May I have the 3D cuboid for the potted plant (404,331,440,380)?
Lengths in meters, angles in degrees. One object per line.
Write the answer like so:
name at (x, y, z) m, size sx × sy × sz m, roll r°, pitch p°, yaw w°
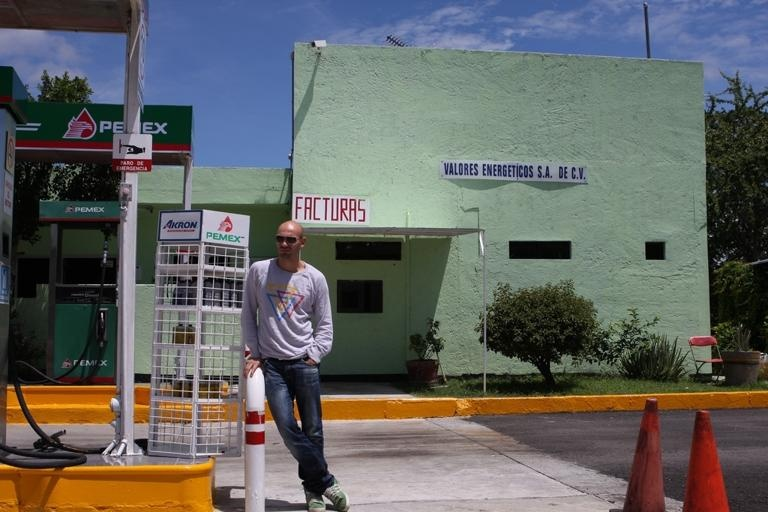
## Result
potted plant at (0.921, 2.496, 23.359) m, size 1.079 × 1.143 × 1.073 m, roll 1°, pitch -8°, yaw 0°

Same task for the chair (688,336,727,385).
chair at (7.910, 2.592, 23.606) m, size 0.725 × 1.134 × 0.810 m, roll -4°, pitch 4°, yaw -8°

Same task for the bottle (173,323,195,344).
bottle at (-2.932, 1.144, 14.179) m, size 0.354 × 0.303 × 0.270 m, roll 1°, pitch -3°, yaw 2°

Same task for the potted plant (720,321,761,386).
potted plant at (8.410, 2.335, 22.738) m, size 0.809 × 1.396 × 1.284 m, roll 0°, pitch -3°, yaw 29°

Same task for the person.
person at (-1.323, 1.577, 13.857) m, size 1.450 × 4.141 × 0.449 m, roll 2°, pitch -2°, yaw -12°
